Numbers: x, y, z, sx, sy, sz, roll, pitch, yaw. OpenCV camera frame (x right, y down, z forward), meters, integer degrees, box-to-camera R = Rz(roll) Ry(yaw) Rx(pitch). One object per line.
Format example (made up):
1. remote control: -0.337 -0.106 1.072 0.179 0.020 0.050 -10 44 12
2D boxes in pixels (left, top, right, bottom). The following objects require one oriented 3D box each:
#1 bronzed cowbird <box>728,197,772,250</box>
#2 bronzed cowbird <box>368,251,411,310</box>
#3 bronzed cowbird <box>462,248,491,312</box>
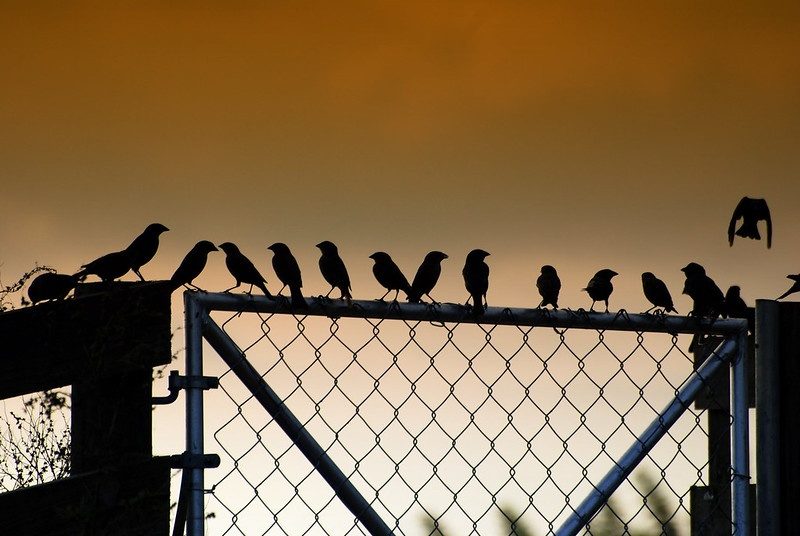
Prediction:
1. bronzed cowbird: 1.681 -0.211 7.863 0.219 0.117 0.289 6 -41 12
2. bronzed cowbird: -0.034 0.037 6.943 0.165 0.286 0.196 3 -29 -1
3. bronzed cowbird: 0.273 0.061 5.894 0.093 0.270 0.183 0 -52 6
